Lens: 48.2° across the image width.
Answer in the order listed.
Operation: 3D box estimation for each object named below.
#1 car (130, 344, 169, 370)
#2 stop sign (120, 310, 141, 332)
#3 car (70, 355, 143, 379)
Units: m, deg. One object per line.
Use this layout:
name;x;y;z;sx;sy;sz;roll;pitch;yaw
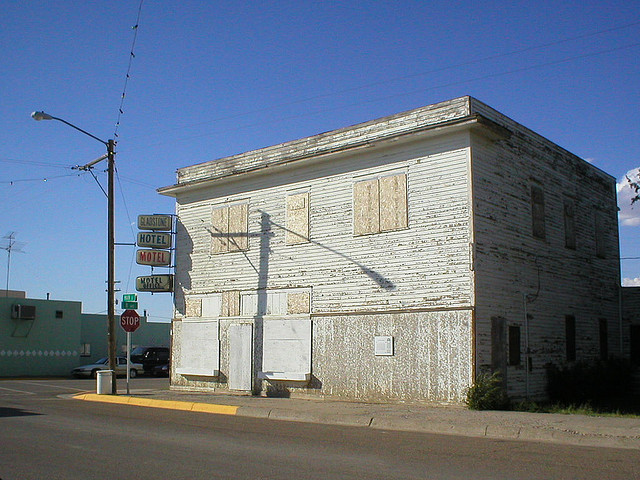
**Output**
car;-11.782;8.089;49.185;2.095;1.065;1.247;9;-13;-29
stop sign;-7.723;3.294;28.915;0.687;0.927;0.489;5;-14;-15
car;-13.055;7.797;45.322;4.920;1.397;2.117;7;-14;-32
